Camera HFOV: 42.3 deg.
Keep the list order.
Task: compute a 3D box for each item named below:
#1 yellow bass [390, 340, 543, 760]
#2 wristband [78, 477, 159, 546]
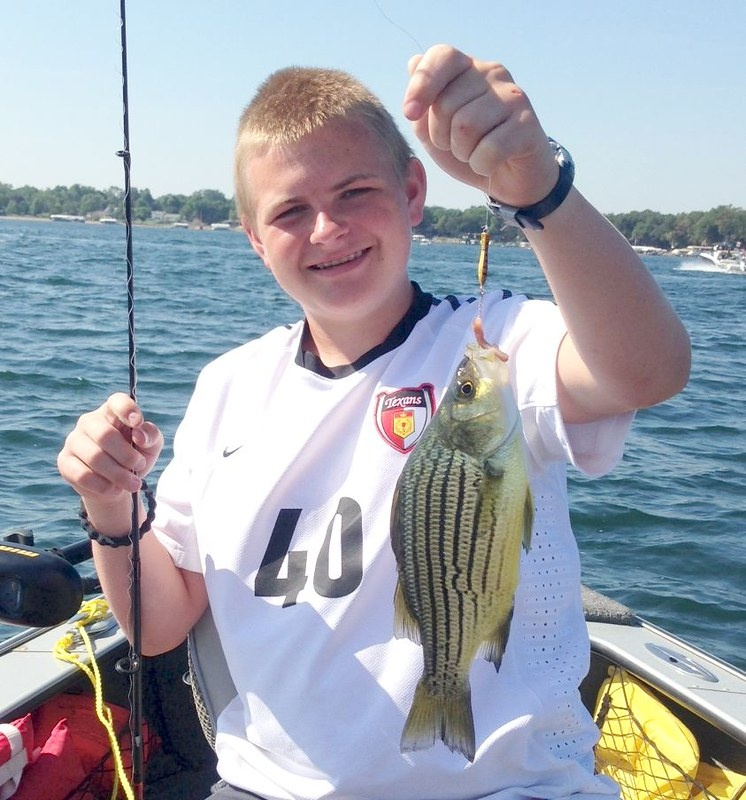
[{"bbox_3d":[0.185,0.345,2.065,0.301,0.911,0.182,2,9,14],"label":"yellow bass"},{"bbox_3d":[-0.696,0.293,2.697,0.197,0.194,0.055,-10,1,2],"label":"wristband"}]
